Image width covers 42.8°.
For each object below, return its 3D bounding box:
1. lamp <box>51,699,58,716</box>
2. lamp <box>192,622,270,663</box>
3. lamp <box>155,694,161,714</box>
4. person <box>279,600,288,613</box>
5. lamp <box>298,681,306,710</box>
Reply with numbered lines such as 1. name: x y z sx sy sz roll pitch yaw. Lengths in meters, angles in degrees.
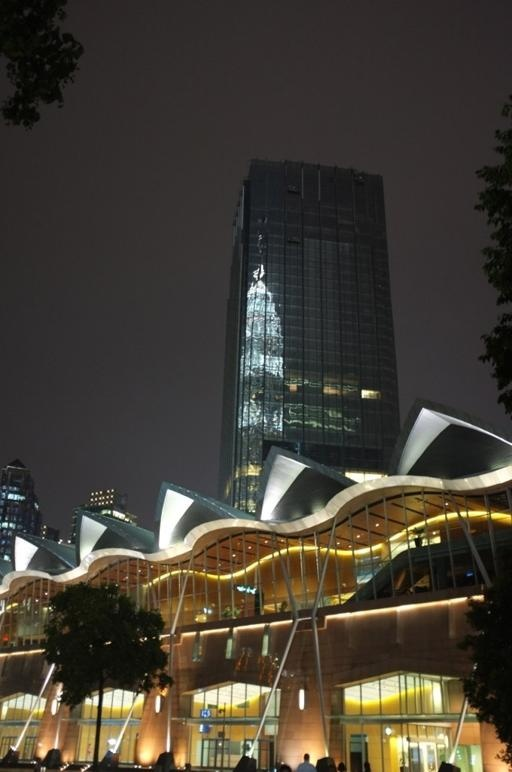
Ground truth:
1. lamp: -13.417 21.340 43.415 0.273 0.948 0.841 24 -35 -29
2. lamp: -1.296 14.330 36.443 3.923 1.270 0.547 -29 -59 31
3. lamp: -5.629 18.002 37.026 0.499 1.002 0.155 -13 -35 29
4. person: 1.435 11.924 35.376 0.410 0.734 0.418 2 4 26
5. lamp: 2.078 14.412 30.121 0.303 1.009 0.462 5 -30 1
